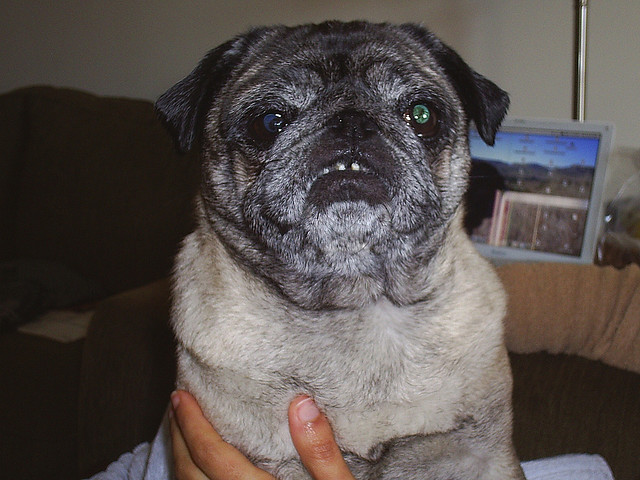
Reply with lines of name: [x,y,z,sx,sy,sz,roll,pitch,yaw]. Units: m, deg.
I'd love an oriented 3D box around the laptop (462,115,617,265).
laptop: [0.484,-0.119,1.420,0.305,0.273,0.030,8,10,14]
